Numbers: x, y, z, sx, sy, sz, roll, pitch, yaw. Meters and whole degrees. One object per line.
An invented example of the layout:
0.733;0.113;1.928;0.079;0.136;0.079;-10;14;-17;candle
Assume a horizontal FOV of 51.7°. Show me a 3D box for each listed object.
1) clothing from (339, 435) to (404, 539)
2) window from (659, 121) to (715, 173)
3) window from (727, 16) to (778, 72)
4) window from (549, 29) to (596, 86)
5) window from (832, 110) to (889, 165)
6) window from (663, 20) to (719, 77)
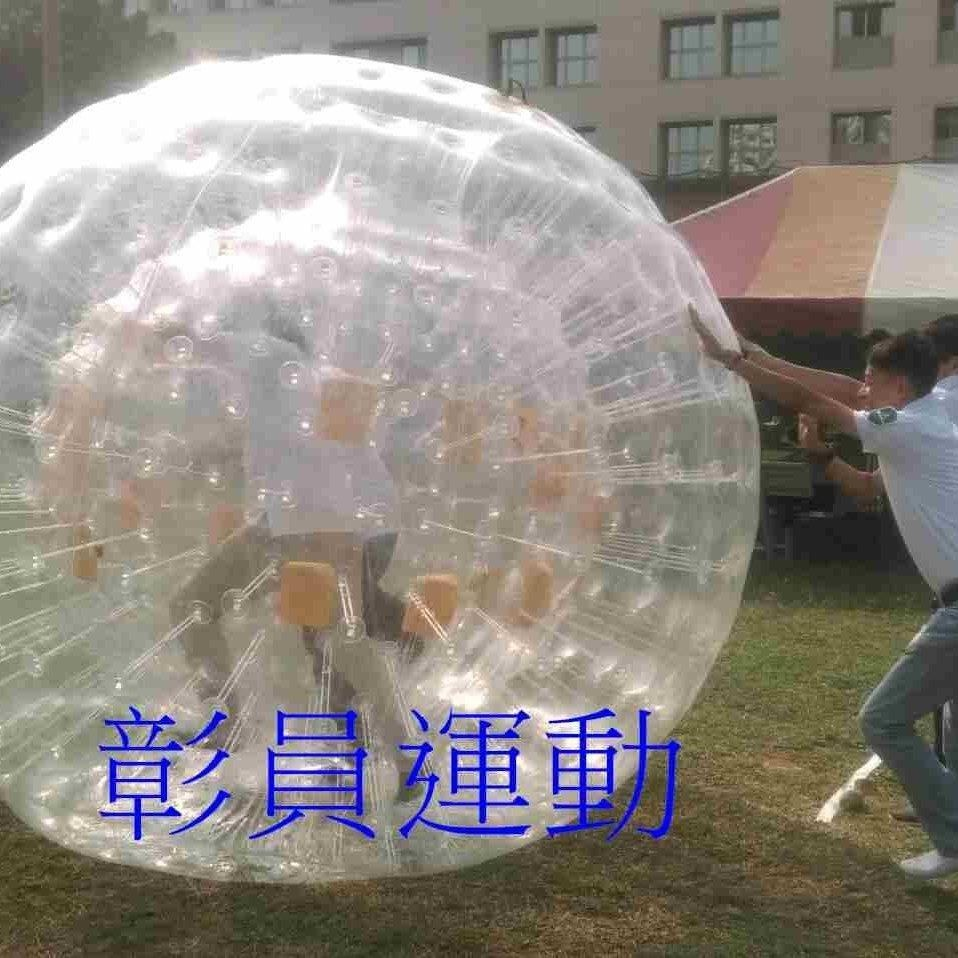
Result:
-0.212;0.019;1.942;0.130;0.167;0.033;19;-6;-24;clothing
3.993;-6.403;19.040;0.866;1.261;0.080;2;-20;-3;window
5.253;-8.292;18.848;0.870;1.344;0.147;-1;-9;16;window
1.841;-8.281;19.410;0.848;1.395;0.087;-1;-10;8;window
6.986;-6.278;18.080;1.191;1.053;0.637;1;4;-11;window
4.092;-8.261;19.024;0.903;1.359;0.094;-1;-21;9;window
